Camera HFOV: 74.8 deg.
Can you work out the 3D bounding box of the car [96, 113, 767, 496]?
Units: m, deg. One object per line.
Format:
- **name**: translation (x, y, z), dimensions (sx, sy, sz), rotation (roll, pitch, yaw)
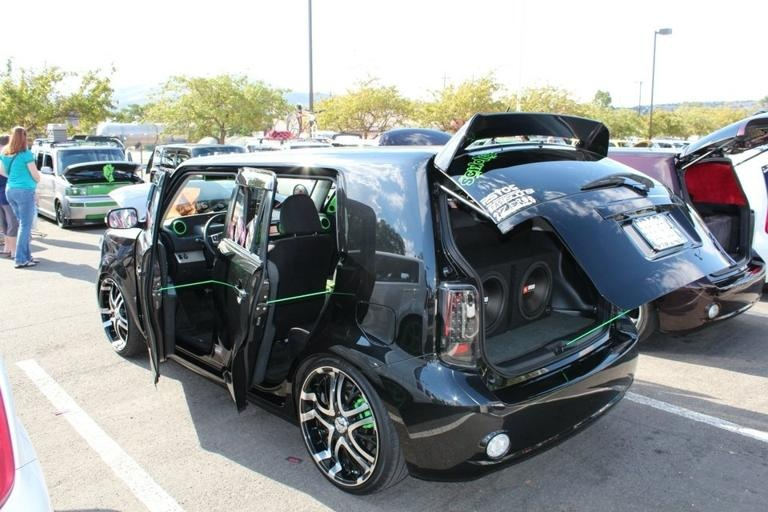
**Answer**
- **car**: translation (-0.417, 0.020, 4.505), dimensions (4.788, 1.860, 3.282), rotation (18, 24, 40)
